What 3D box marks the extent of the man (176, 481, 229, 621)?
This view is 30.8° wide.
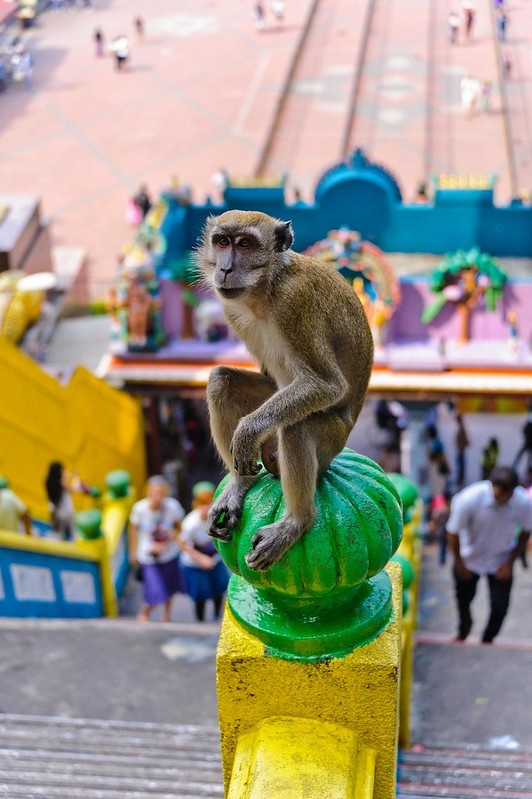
[{"bbox_3d":[-0.458,1.352,7.885,0.425,1.044,0.387,-5,7,-23],"label":"man"}]

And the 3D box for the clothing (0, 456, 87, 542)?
[{"bbox_3d":[-1.656,0.777,7.330,0.565,0.302,0.770,3,-15,3],"label":"clothing"}]

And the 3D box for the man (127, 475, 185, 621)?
[{"bbox_3d":[-0.904,1.297,8.040,0.504,1.154,0.388,-4,10,-26],"label":"man"}]
